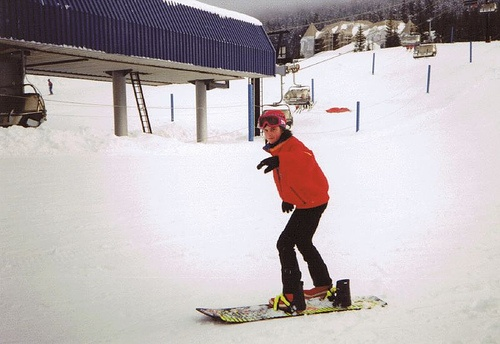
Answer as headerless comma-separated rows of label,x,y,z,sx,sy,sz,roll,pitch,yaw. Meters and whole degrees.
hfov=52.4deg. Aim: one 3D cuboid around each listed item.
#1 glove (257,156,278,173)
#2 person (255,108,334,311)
glove,0.276,-0.116,7.696,0.320,0.281,0.572,-2,8,3
person,0.712,0.561,7.828,1.038,3.030,0.585,-3,7,1
